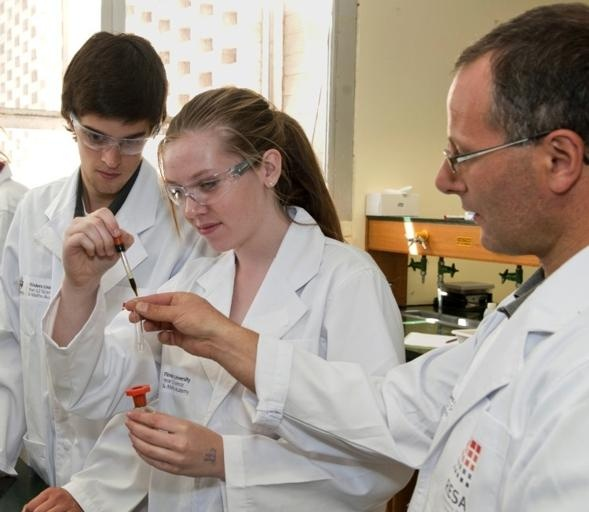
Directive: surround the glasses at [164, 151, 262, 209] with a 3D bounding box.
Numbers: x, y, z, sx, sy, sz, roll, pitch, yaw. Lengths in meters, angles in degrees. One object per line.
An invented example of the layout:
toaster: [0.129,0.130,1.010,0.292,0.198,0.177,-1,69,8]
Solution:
glasses: [-0.233,-0.206,1.626,0.160,0.057,0.155,-37,12,-36]
